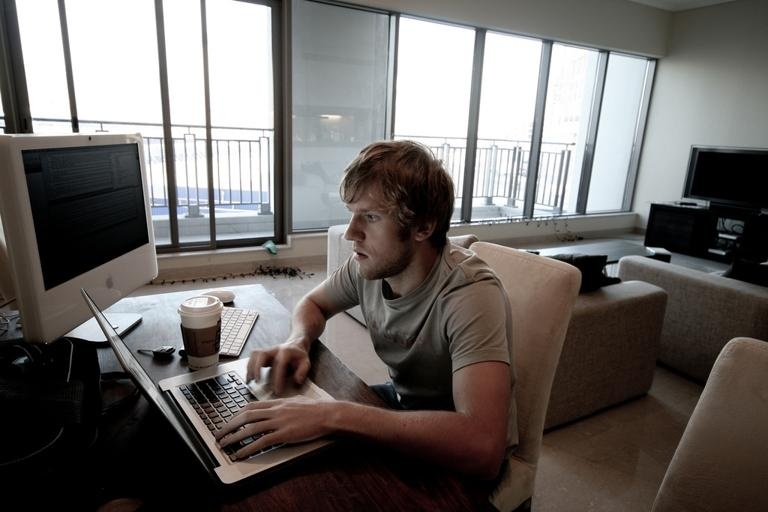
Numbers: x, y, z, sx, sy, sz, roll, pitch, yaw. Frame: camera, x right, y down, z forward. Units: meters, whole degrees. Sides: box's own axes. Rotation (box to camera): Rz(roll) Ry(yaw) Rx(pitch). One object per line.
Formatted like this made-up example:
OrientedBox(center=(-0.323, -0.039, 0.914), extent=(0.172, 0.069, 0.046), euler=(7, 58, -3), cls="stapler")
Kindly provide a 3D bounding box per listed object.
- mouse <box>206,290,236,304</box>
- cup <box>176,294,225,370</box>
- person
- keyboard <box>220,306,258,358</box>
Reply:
OrientedBox(center=(-0.687, 0.170, 2.153), extent=(0.062, 0.031, 0.092), euler=(1, 8, -22), cls="mouse")
OrientedBox(center=(-0.613, 0.252, 1.768), extent=(0.197, 0.276, 0.202), euler=(0, 9, 0), cls="cup")
OrientedBox(center=(-0.097, 0.077, 2.041), extent=(1.051, 1.423, 1.090), euler=(4, 8, -20), cls="person")
OrientedBox(center=(-0.556, 0.283, 1.941), extent=(0.110, 0.029, 0.277), euler=(-1, 28, -3), cls="keyboard")
